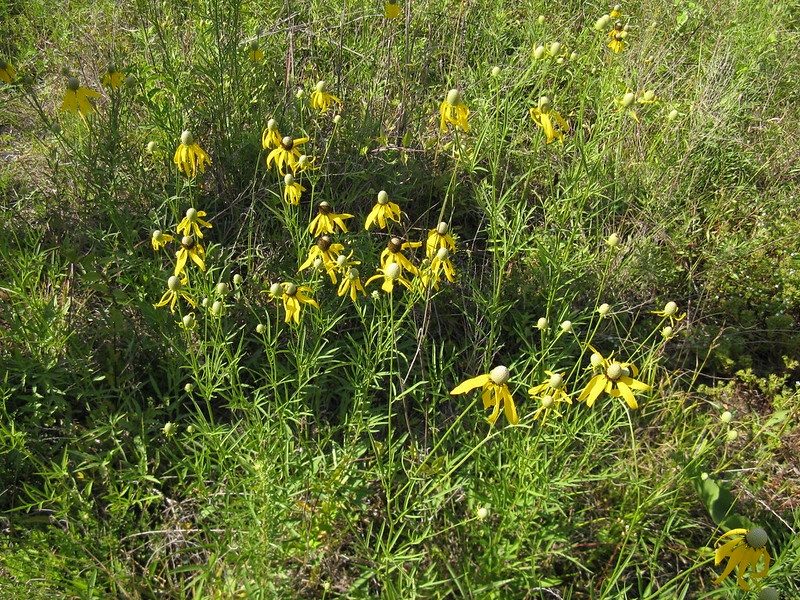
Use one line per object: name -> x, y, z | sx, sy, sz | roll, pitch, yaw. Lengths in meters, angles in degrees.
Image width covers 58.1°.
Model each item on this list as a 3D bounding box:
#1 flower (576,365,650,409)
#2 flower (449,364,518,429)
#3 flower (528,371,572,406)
flower -> 0.972, 0.362, 3.208 | 0.305, 0.344, 0.186 | -5, 65, 37
flower -> 0.395, 0.463, 3.134 | 0.269, 0.280, 0.179 | 31, 65, -11
flower -> 0.675, 0.412, 3.285 | 0.175, 0.106, 0.200 | 0, 29, -3
